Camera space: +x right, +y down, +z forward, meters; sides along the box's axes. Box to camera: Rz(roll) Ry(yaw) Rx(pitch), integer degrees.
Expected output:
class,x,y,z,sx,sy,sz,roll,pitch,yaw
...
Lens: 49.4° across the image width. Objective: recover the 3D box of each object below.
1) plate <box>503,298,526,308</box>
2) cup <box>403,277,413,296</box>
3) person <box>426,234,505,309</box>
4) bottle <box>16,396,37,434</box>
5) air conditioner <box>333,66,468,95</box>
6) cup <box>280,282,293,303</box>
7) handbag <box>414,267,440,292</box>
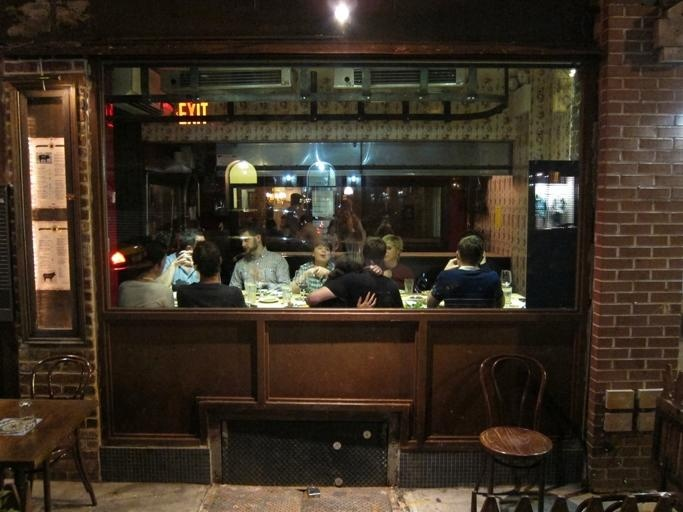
class,x,y,z,sx,sy,sz,roll,pitch,yaw
plate,1.461,0.386,6.254,0.174,0.053,0.247,0,8,10
cup,0.613,0.278,6.785,0.115,0.173,0.113,1,-2,0
person,1.061,0.074,6.478,0.662,1.079,0.589,3,4,9
bottle,-2.276,1.158,5.379,0.127,0.212,0.213,0,8,-26
air conditioner,0.521,-1.560,6.553,1.174,0.209,0.536,-2,8,0
cup,-0.456,0.331,6.549,0.128,0.193,0.126,0,2,0
handbag,0.808,0.224,6.962,0.214,0.156,0.181,-5,-3,36
